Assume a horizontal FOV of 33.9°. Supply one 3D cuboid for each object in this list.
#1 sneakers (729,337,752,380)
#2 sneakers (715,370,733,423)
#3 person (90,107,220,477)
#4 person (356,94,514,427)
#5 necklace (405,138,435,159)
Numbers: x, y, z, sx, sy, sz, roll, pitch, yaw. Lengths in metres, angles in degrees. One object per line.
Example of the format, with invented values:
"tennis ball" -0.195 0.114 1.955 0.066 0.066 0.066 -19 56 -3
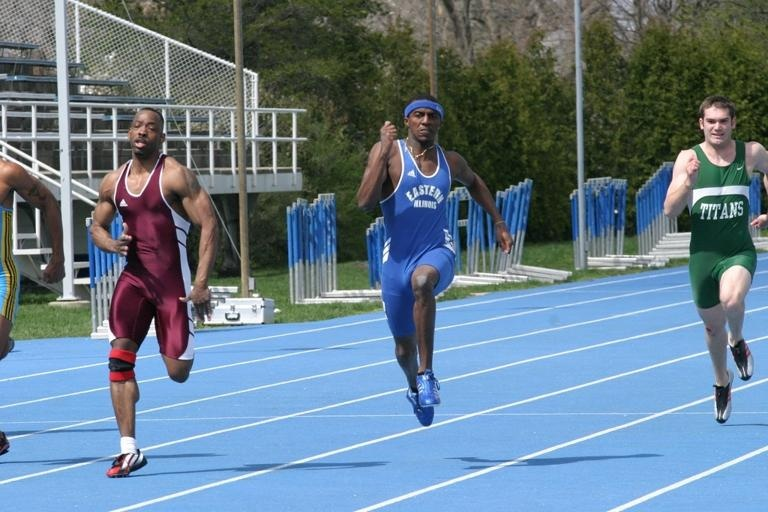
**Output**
"sneakers" 4.187 1.195 14.747 0.204 0.582 0.253 -16 7 18
"sneakers" 3.879 1.607 14.407 0.205 0.611 0.259 1 -2 35
"person" -2.435 0.366 13.404 1.300 3.855 0.754 -1 3 -6
"person" 0.375 0.059 13.973 0.909 3.575 1.282 1 4 27
"necklace" 0.395 -1.159 13.735 0.175 0.174 0.221 0 -22 -6
